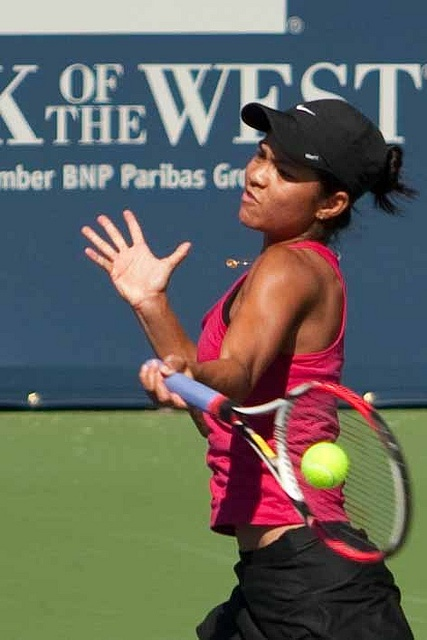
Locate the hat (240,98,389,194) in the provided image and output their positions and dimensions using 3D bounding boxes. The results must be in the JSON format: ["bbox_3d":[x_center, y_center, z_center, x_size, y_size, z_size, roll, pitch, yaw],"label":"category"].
[{"bbox_3d":[0.232,-0.396,1.701,0.279,0.139,0.188,33,18,-24],"label":"hat"}]
